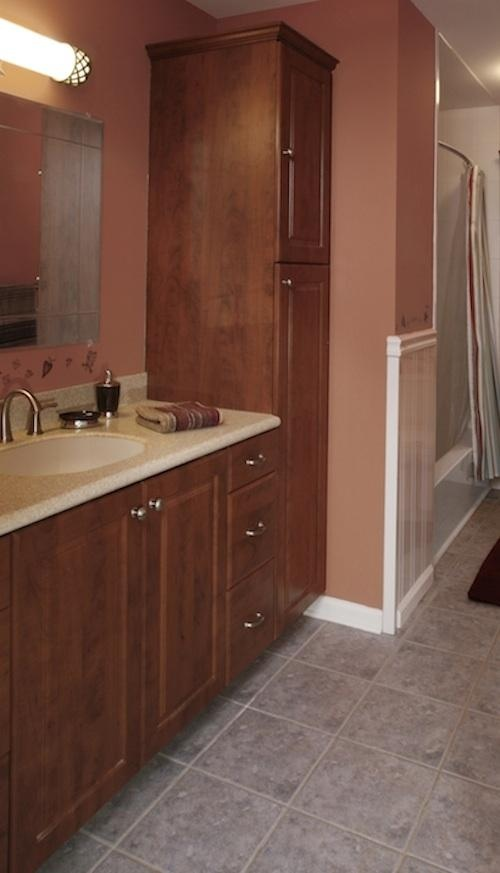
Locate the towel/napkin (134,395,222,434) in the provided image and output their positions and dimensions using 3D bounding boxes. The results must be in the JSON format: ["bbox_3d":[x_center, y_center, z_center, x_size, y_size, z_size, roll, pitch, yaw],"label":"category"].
[{"bbox_3d":[-0.197,-0.054,1.758,0.212,0.067,0.213,-4,8,-33],"label":"towel/napkin"}]
